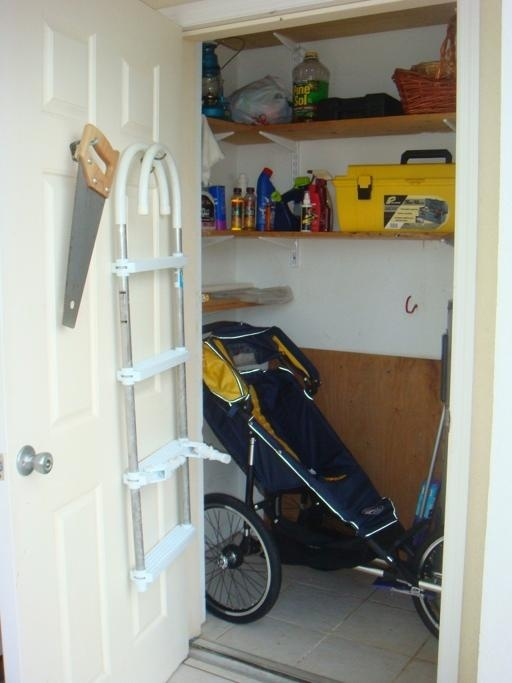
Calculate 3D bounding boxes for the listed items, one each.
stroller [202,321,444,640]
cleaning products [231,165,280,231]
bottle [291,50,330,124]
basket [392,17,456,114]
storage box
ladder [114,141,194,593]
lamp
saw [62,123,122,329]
[{"bbox_3d":[0.338,0.511,2.315,1.156,1.151,0.721,1,4,33],"label":"stroller"},{"bbox_3d":[-0.007,-0.626,2.767,0.181,0.347,0.168,9,16,26],"label":"cleaning products"},{"bbox_3d":[0.232,-1.074,2.566,0.143,0.293,0.150,2,10,0],"label":"bottle"},{"bbox_3d":[0.619,-0.957,2.181,0.229,0.337,0.199,6,15,19],"label":"basket"},{"bbox_3d":[0.609,-0.610,2.465,0.510,0.353,0.353,6,11,27],"label":"storage box"},{"bbox_3d":[-0.281,0.091,1.686,0.131,1.241,0.550,1,1,6],"label":"ladder"},{"bbox_3d":[-0.174,-1.070,2.485,0.170,0.290,0.123,-4,19,-3],"label":"lamp"},{"bbox_3d":[-0.376,-0.242,1.338,0.101,0.432,0.263,1,1,2],"label":"saw"}]
